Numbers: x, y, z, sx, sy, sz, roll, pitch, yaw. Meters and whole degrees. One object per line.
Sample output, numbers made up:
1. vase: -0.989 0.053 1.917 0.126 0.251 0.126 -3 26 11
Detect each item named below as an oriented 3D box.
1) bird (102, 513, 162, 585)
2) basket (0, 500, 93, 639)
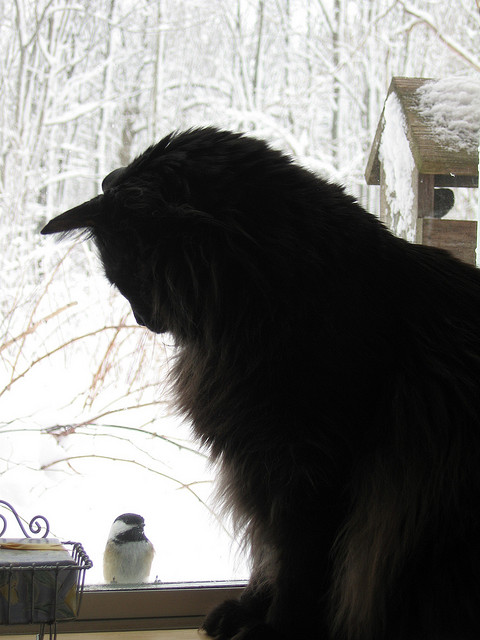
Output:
1. bird: -0.176 0.360 1.892 0.084 0.129 0.153 1 -7 -13
2. basket: -0.277 0.368 1.680 0.085 0.123 0.144 2 2 -3
